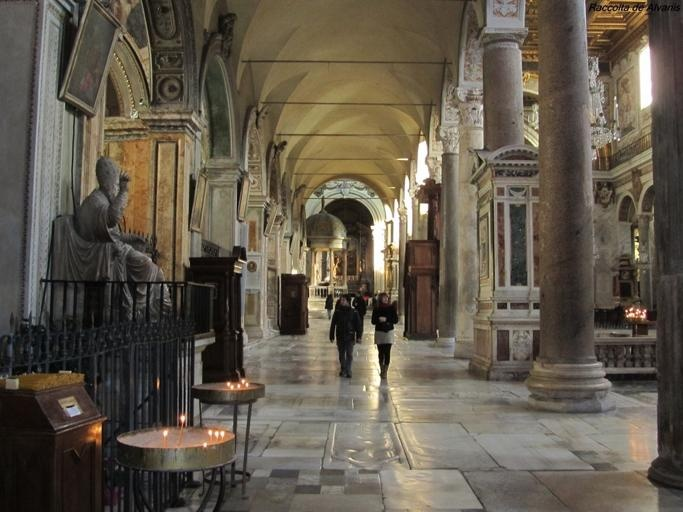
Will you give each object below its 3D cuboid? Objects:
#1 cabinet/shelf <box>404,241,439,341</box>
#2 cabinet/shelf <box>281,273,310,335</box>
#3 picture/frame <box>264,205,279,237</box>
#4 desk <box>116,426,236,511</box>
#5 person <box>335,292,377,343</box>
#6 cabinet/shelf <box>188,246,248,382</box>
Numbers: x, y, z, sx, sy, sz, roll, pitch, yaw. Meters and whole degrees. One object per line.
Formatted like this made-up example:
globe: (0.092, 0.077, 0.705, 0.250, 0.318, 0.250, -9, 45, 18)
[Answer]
cabinet/shelf: (2.520, 1.067, 20.822, 0.897, 2.815, 2.811, 0, -1, 1)
cabinet/shelf: (-1.522, 1.655, 23.374, 0.764, 1.985, 2.001, 0, 1, 2)
picture/frame: (-2.349, -1.162, 22.623, 0.109, 1.215, 1.085, 10, 8, 11)
desk: (-1.033, 1.318, 4.436, 0.588, 0.538, 0.645, 1, 0, 2)
person: (0.096, 1.071, 11.606, 0.538, 0.817, 0.742, -1, -5, -3)
cabinet/shelf: (-1.922, 0.963, 10.760, 0.732, 1.983, 1.111, 0, -5, -12)
